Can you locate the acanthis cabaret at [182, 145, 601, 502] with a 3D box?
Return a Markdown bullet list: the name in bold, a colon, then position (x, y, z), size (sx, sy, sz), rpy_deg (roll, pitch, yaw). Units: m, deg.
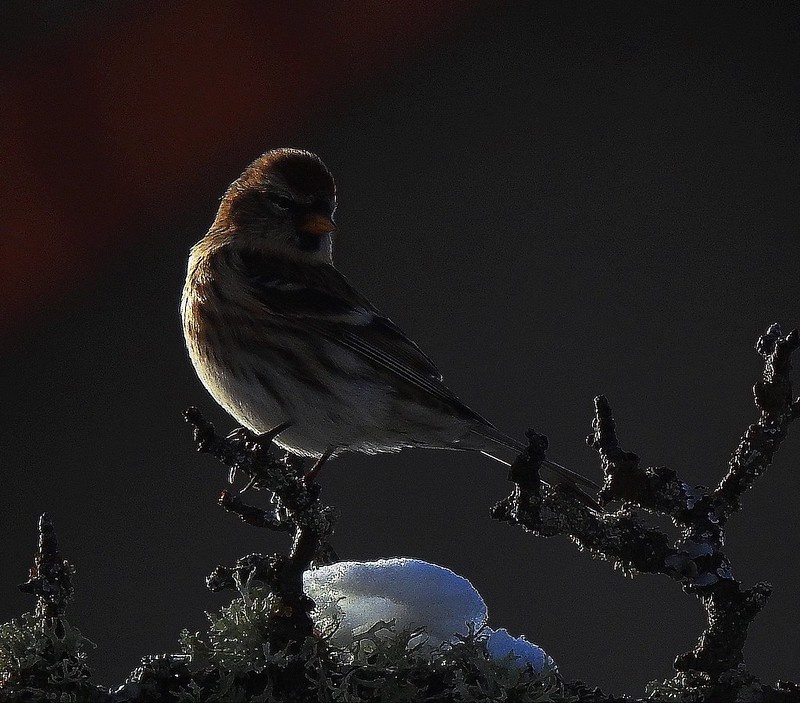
- **acanthis cabaret**: position (0.001, -0.019, 2.859), size (1.006, 0.697, 0.440), rpy_deg (11, -17, 13)
